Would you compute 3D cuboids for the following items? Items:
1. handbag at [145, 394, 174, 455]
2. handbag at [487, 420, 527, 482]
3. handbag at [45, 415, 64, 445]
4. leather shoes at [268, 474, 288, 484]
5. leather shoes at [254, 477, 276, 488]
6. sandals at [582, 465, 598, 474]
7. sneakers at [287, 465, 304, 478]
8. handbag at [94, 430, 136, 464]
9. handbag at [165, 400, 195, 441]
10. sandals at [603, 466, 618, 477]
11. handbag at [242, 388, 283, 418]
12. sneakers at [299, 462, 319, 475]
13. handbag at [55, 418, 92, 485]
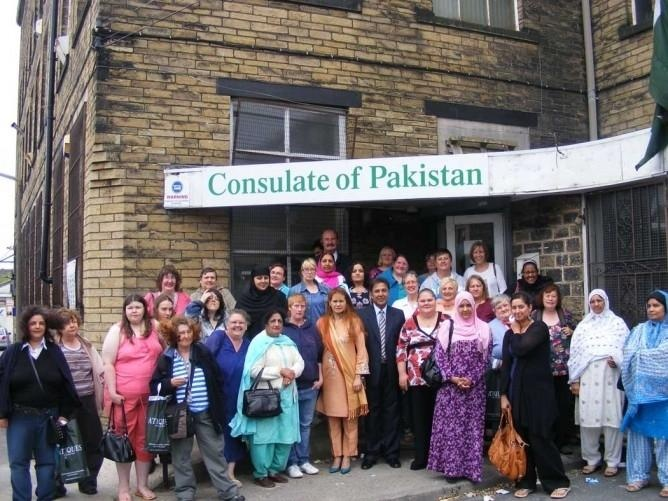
[{"bbox_3d":[-2.347,2.330,11.937,0.357,0.811,0.266,5,12,-1],"label":"handbag"},{"bbox_3d":[2.470,2.714,12.400,0.428,0.943,0.718,-7,15,-19],"label":"handbag"},{"bbox_3d":[-3.840,2.473,12.203,0.206,0.406,0.143,-22,-15,4],"label":"handbag"},{"bbox_3d":[-0.796,3.316,12.765,0.241,0.112,0.106,-1,-5,9],"label":"leather shoes"},{"bbox_3d":[-0.985,3.336,12.598,0.291,0.128,0.107,-7,-9,27],"label":"leather shoes"},{"bbox_3d":[3.742,3.238,12.937,0.280,0.120,0.095,9,-14,-36],"label":"sandals"},{"bbox_3d":[-0.563,3.252,12.899,0.108,0.119,0.277,5,-13,-33],"label":"sneakers"},{"bbox_3d":[-2.951,2.648,12.030,0.446,0.468,0.226,3,9,30],"label":"handbag"},{"bbox_3d":[-2.104,2.342,11.973,0.449,0.480,0.281,-16,-25,32],"label":"handbag"},{"bbox_3d":[4.036,3.226,12.836,0.259,0.130,0.196,0,-5,-1],"label":"sandals"},{"bbox_3d":[-1.032,2.163,12.608,0.587,0.683,0.352,2,-12,-14],"label":"handbag"},{"bbox_3d":[-0.359,3.235,13.049,0.131,0.108,0.247,2,-5,-44],"label":"sneakers"},{"bbox_3d":[-3.614,2.817,12.166,0.359,0.889,0.678,0,-32,-34],"label":"handbag"}]
